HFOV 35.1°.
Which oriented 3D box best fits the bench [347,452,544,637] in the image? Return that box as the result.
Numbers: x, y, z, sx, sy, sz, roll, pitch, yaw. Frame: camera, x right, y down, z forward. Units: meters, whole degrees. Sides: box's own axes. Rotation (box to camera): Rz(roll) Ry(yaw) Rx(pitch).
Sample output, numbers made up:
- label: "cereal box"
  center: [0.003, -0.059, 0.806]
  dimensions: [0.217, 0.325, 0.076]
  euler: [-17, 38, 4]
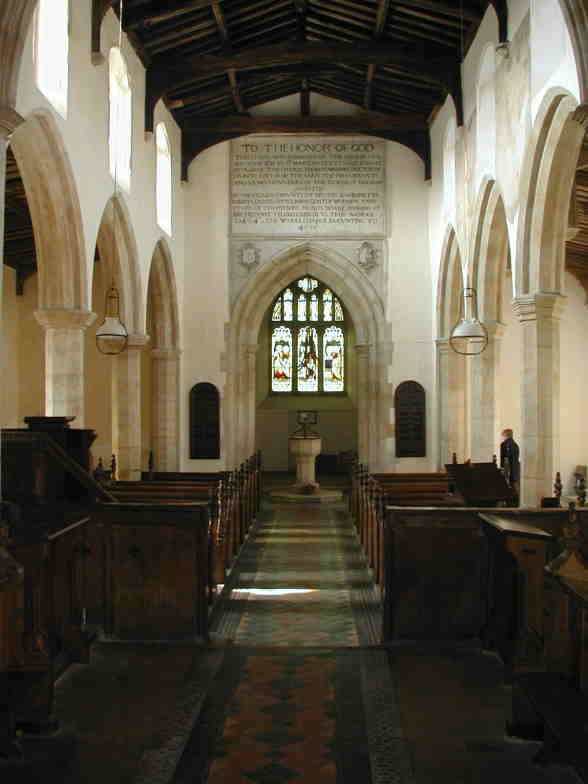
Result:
- label: "bench"
  center: [1.185, 1.186, 7.240]
  dimensions: [0.959, 0.746, 1.902]
  euler: [-1, 0, 2]
